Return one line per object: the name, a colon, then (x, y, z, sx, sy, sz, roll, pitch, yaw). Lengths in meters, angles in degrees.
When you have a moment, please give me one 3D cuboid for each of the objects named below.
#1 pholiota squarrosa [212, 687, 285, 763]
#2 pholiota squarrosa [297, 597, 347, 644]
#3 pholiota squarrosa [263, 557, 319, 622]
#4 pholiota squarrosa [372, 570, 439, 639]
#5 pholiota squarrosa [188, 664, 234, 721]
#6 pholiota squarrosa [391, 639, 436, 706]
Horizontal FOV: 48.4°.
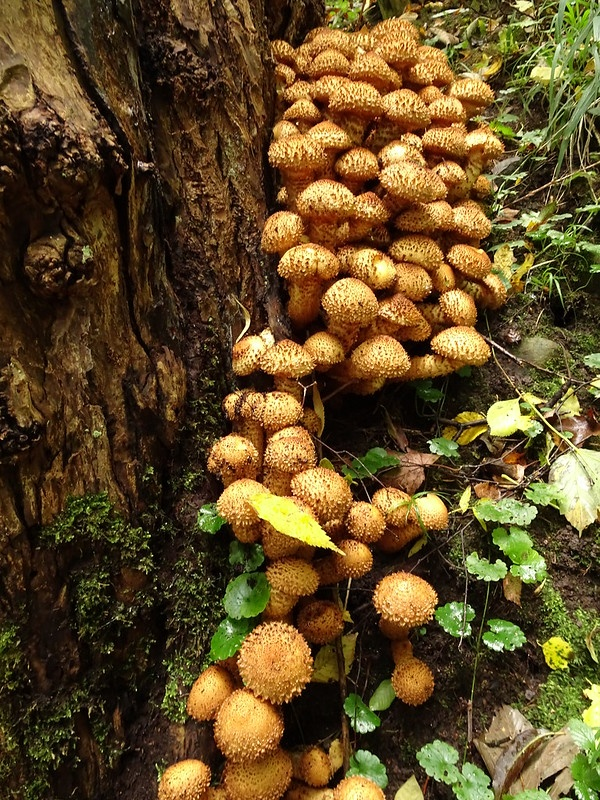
pholiota squarrosa: (-0.197, 1.214, 2.475, 0.244, 0.074, 0.257, -9, 53, 7)
pholiota squarrosa: (0.099, 0.965, 2.911, 0.174, 0.196, 0.191, 9, 8, -1)
pholiota squarrosa: (-0.042, 0.812, 2.824, 0.248, 0.250, 0.173, -11, 40, -5)
pholiota squarrosa: (0.438, 0.837, 2.796, 0.251, 0.127, 0.224, 7, 43, 16)
pholiota squarrosa: (-0.352, 1.208, 2.773, 0.194, 0.084, 0.201, -18, 32, 21)
pholiota squarrosa: (0.495, 1.223, 3.044, 0.155, 0.180, 0.282, 9, 21, -24)
